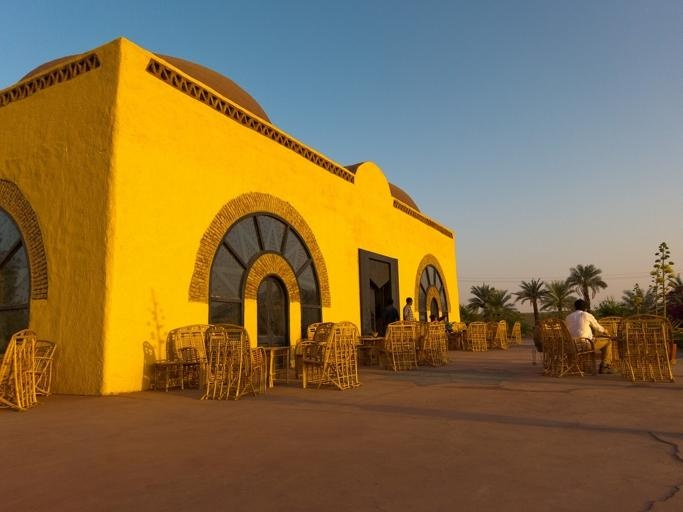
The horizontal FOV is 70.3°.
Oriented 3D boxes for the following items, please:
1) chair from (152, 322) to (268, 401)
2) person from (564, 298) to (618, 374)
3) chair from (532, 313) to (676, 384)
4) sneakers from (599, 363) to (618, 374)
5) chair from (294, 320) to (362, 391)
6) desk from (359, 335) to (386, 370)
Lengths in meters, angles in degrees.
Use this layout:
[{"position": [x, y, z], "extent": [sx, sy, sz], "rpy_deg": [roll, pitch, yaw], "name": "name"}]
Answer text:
[{"position": [-2.338, 1.888, 8.421], "extent": [1.407, 0.852, 1.495], "rpy_deg": [-1, -5, 32], "name": "chair"}, {"position": [5.027, 1.576, 9.758], "extent": [0.825, 1.436, 0.770], "rpy_deg": [11, -12, -37], "name": "person"}, {"position": [5.195, 1.643, 9.327], "extent": [1.977, 1.234, 1.521], "rpy_deg": [-5, -6, 38], "name": "chair"}, {"position": [5.462, 2.250, 9.897], "extent": [0.191, 0.252, 0.541], "rpy_deg": [-4, -8, 43], "name": "sneakers"}, {"position": [-0.293, 1.870, 9.121], "extent": [1.000, 1.382, 1.272], "rpy_deg": [-9, -16, 37], "name": "chair"}, {"position": [0.824, 2.570, 13.340], "extent": [0.869, 0.991, 0.702], "rpy_deg": [-2, -4, 28], "name": "desk"}]
